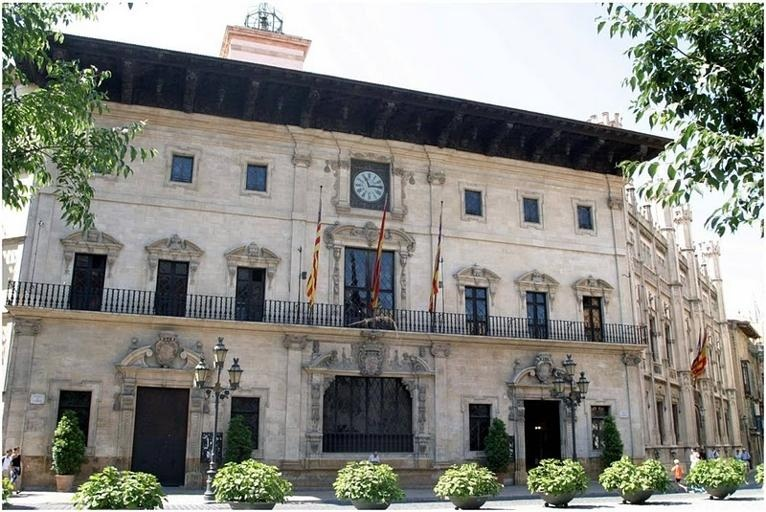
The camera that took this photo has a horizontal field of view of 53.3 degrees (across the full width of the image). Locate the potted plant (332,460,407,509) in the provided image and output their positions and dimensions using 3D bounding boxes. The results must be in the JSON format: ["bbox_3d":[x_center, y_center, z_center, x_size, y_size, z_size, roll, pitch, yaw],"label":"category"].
[{"bbox_3d":[-0.478,7.854,26.745,2.021,1.285,2.021,2,-27,1],"label":"potted plant"}]

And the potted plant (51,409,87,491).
[{"bbox_3d":[-12.720,7.834,30.844,1.149,3.108,0.742,6,-19,-22],"label":"potted plant"}]

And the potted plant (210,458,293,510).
[{"bbox_3d":[-4.247,7.245,24.343,2.224,1.530,0.809,3,-18,-13],"label":"potted plant"}]

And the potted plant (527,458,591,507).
[{"bbox_3d":[6.379,8.510,28.840,1.900,1.451,1.904,3,-20,-10],"label":"potted plant"}]

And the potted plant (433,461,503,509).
[{"bbox_3d":[3.008,8.150,27.104,2.013,1.530,0.651,-1,-17,1],"label":"potted plant"}]

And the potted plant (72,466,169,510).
[{"bbox_3d":[-7.516,6.813,22.243,1.701,1.080,1.782,8,-11,3],"label":"potted plant"}]

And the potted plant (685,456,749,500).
[{"bbox_3d":[13.606,8.963,31.184,1.829,1.365,1.853,9,-20,-38],"label":"potted plant"}]

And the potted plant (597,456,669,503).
[{"bbox_3d":[9.527,8.439,29.504,1.990,1.453,2.032,6,-22,-13],"label":"potted plant"}]
